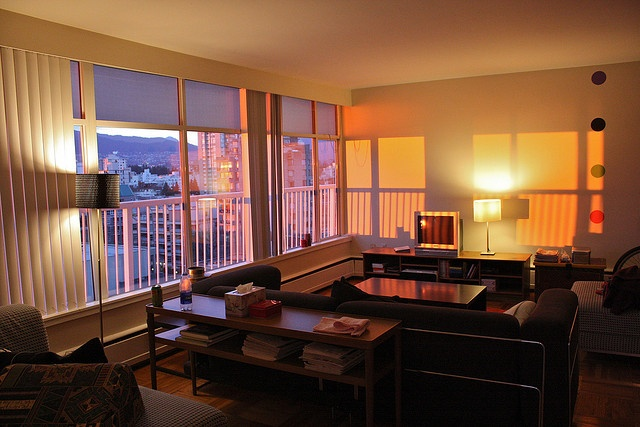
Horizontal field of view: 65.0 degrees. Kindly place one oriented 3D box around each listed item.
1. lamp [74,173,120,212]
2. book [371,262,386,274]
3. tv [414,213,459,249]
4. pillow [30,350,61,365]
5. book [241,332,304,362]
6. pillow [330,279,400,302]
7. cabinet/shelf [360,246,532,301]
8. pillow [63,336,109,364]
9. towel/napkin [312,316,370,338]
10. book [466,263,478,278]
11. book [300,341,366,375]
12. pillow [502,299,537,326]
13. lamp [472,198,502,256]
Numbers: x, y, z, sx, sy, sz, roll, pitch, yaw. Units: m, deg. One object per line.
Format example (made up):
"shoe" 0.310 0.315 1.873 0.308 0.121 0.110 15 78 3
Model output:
"lamp" -2.226 -0.226 5.081 0.432 0.331 0.215 0 -3 -23
"book" 0.961 0.881 8.107 0.175 0.102 0.176 2 3 26
"tv" 1.815 0.266 7.807 0.653 0.570 0.145 1 6 31
"pillow" -1.944 1.021 3.560 0.185 0.077 0.242 1 -1 -18
"book" -0.399 1.115 4.409 0.292 0.091 0.294 4 7 40
"pillow" 0.345 0.735 4.673 0.389 0.128 0.299 1 2 15
"cabinet/shelf" 1.897 0.955 7.874 2.351 0.721 0.562 0 12 14
"pillow" -1.683 0.994 3.656 0.242 0.216 0.101 -11 6 -42
"towel/napkin" 0.181 0.919 4.150 0.423 0.094 0.298 0 5 22
"book" 2.280 0.865 7.580 0.047 0.189 0.193 23 11 12
"book" 0.103 1.166 4.190 0.294 0.090 0.297 2 3 35
"pillow" 1.754 0.852 4.409 0.148 0.158 0.439 1 8 38
"lamp" 2.585 0.201 7.714 0.379 0.836 0.533 0 5 22
